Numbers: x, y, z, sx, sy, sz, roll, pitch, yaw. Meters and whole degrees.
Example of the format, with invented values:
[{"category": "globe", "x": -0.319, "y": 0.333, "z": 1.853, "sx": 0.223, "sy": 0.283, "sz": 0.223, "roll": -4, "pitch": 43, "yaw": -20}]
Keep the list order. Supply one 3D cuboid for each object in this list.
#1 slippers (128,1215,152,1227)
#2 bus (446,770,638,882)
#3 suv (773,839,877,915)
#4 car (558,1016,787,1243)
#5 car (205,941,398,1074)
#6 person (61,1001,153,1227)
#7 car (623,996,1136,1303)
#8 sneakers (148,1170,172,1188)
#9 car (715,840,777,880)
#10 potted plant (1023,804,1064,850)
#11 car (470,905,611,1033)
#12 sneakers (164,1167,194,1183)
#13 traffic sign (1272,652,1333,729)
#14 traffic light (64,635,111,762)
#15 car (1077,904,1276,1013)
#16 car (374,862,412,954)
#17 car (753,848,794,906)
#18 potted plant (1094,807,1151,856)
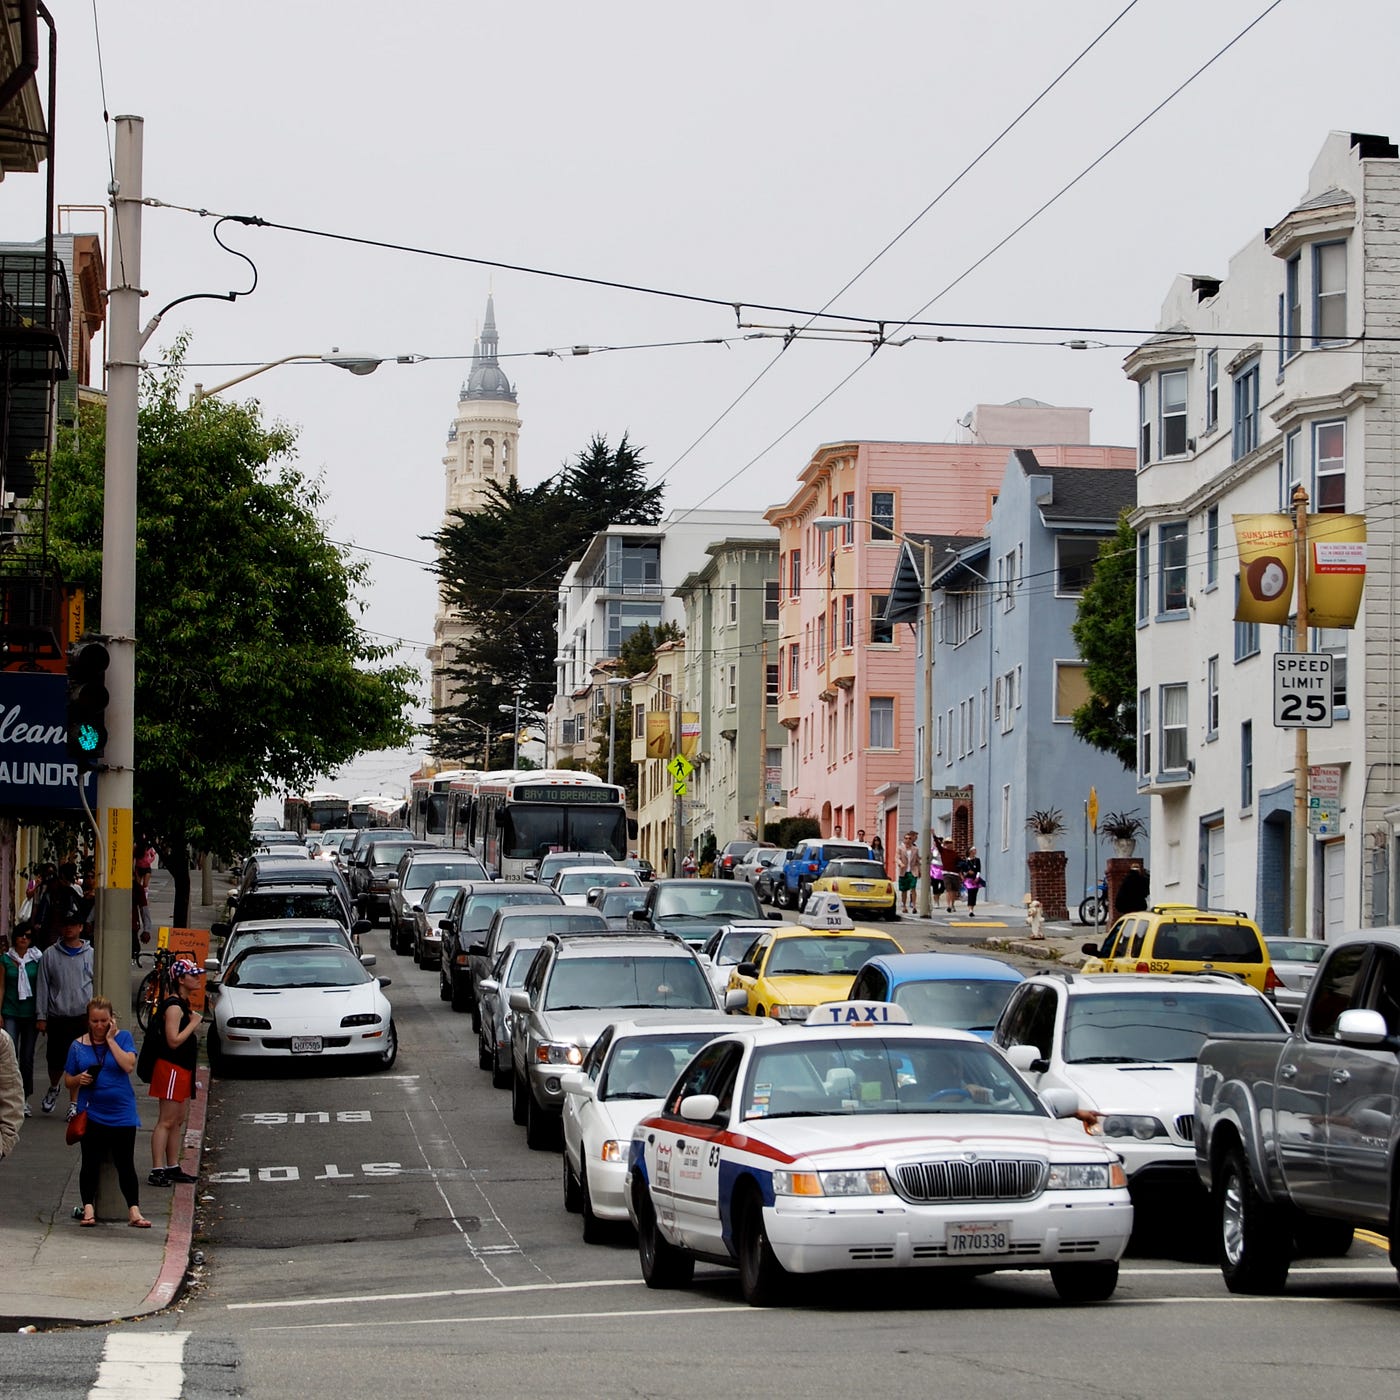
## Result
[{"category": "slippers", "x": -3.755, "y": 3.474, "z": 19.094, "sx": 0.088, "sy": 0.067, "sz": 0.236, "roll": 2, "pitch": -8, "yaw": -19}, {"category": "bus", "x": -3.562, "y": 2.474, "z": 58.428, "sx": 2.155, "sy": 2.564, "sz": 8.545, "roll": 3, "pitch": -1, "yaw": -13}, {"category": "suv", "x": 2.526, "y": 3.677, "z": 62.300, "sx": 1.100, "sy": 1.076, "sz": 2.113, "roll": 1, "pitch": 2, "yaw": -16}, {"category": "car", "x": -0.405, "y": 2.527, "z": 19.279, "sx": 0.879, "sy": 0.765, "sz": 2.091, "roll": 1, "pitch": 24, "yaw": -13}, {"category": "car", "x": -4.201, "y": 3.222, "z": 29.715, "sx": 1.336, "sy": 0.832, "sz": 2.501, "roll": 0, "pitch": -3, "yaw": -9}, {"category": "person", "x": -3.929, "y": 2.742, "z": 19.005, "sx": 0.594, "sy": 1.522, "sz": 0.842, "roll": 3, "pitch": -4, "yaw": -11}, {"category": "car", "x": 0.830, "y": 2.511, "z": 15.312, "sx": 1.848, "sy": 1.534, "sz": 2.793, "roll": 6, "pitch": -6, "yaw": -38}, {"category": "sneakers", "x": -4.011, "y": 3.544, "z": 21.232, "sx": 0.070, "sy": 0.094, "sz": 0.211, "roll": 4, "pitch": -8, "yaw": -31}, {"category": "car", "x": 0.941, "y": 4.204, "z": 76.608, "sx": 0.787, "sy": 0.839, "sz": 1.766, "roll": 0, "pitch": 5, "yaw": -5}, {"category": "potted plant", "x": 7.610, "y": 2.711, "z": 61.854, "sx": 0.774, "sy": 0.868, "sz": 0.823, "roll": 1, "pitch": -6, "yaw": -10}, {"category": "car", "x": -1.737, "y": 2.769, "z": 30.990, "sx": 1.085, "sy": 0.990, "sz": 1.951, "roll": 1, "pitch": -9, "yaw": -17}, {"category": "sneakers", "x": -3.897, "y": 3.552, "z": 21.355, "sx": 0.235, "sy": 0.101, "sz": 0.083, "roll": 1, "pitch": 0, "yaw": -10}, {"category": "traffic sign", "x": 7.393, "y": -0.150, "z": 34.982, "sx": 0.636, "sy": 0.960, "sz": 0.827, "roll": -1, "pitch": -5, "yaw": 30}, {"category": "traffic light", "x": -4.127, "y": 0.009, "z": 19.231, "sx": 0.255, "sy": 0.895, "sz": 0.466, "roll": 3, "pitch": -4, "yaw": -13}, {"category": "car", "x": 4.994, "y": 2.537, "z": 29.545, "sx": 1.361, "sy": 1.174, "sz": 2.175, "roll": 1, "pitch": 3, "yaw": -7}, {"category": "car", "x": -5.119, "y": 3.444, "z": 48.058, "sx": 0.621, "sy": 0.842, "sz": 1.675, "roll": 1, "pitch": -8, "yaw": -8}, {"category": "car", "x": 1.651, "y": 4.107, "z": 65.048, "sx": 0.912, "sy": 0.831, "sz": 1.614, "roll": 2, "pitch": 3, "yaw": -5}, {"category": "potted plant", "x": 8.974, "y": 2.639, "z": 59.647, "sx": 1.226, "sy": 1.161, "sz": 1.287, "roll": 0, "pitch": -8, "yaw": -1}]
